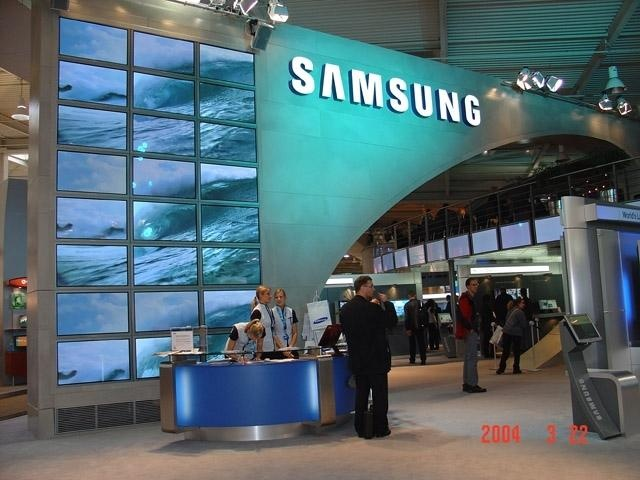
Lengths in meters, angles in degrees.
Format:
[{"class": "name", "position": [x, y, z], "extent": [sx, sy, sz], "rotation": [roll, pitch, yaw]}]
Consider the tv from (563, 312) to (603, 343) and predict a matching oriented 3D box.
[{"class": "tv", "position": [2.876, 1.029, 5.422], "extent": [0.489, 0.319, 0.140], "rotation": [-3, -26, -28]}]

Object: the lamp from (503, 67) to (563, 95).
[{"class": "lamp", "position": [5.557, -4.028, 12.214], "extent": [1.352, 0.750, 0.555], "rotation": [11, 19, -19]}]

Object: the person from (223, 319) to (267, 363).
[{"class": "person", "position": [-0.982, 1.297, 6.143], "extent": [0.460, 0.520, 0.892], "rotation": [-4, -6, -12]}]

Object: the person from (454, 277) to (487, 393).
[{"class": "person", "position": [2.671, 1.720, 8.541], "extent": [0.474, 2.014, 0.977], "rotation": [-7, -6, 16]}]

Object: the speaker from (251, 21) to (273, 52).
[{"class": "speaker", "position": [-1.087, -3.733, 8.676], "extent": [0.444, 0.527, 0.299], "rotation": [5, 18, -24]}]

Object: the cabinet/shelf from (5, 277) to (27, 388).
[{"class": "cabinet/shelf", "position": [-8.484, 2.515, 13.237], "extent": [0.542, 2.945, 1.288], "rotation": [-1, -7, -33]}]

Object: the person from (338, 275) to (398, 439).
[{"class": "person", "position": [0.613, 1.421, 5.766], "extent": [0.653, 1.930, 0.319], "rotation": [-5, -6, 0]}]

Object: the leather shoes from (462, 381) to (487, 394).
[{"class": "leather shoes", "position": [2.673, 2.601, 8.334], "extent": [0.462, 0.163, 0.152], "rotation": [-2, -6, 16]}]
